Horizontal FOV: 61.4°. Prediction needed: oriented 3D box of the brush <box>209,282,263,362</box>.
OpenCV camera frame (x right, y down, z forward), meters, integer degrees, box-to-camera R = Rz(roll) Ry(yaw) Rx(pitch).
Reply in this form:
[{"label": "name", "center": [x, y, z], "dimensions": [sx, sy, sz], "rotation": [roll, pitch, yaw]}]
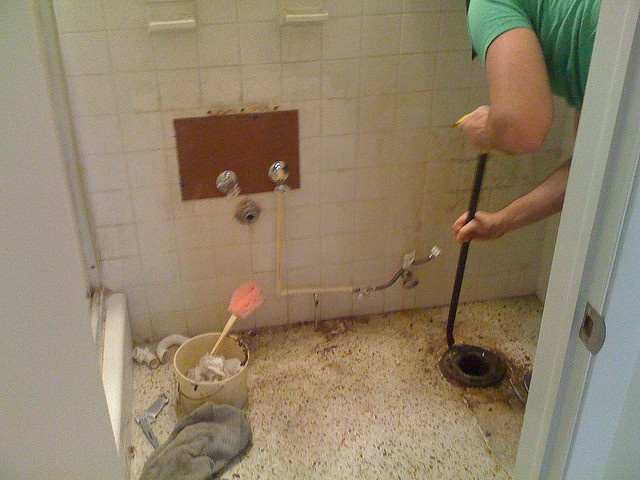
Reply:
[{"label": "brush", "center": [-0.367, 0.327, 2.433], "dimensions": [0.142, 0.078, 0.458], "rotation": [29, 71, 17]}]
